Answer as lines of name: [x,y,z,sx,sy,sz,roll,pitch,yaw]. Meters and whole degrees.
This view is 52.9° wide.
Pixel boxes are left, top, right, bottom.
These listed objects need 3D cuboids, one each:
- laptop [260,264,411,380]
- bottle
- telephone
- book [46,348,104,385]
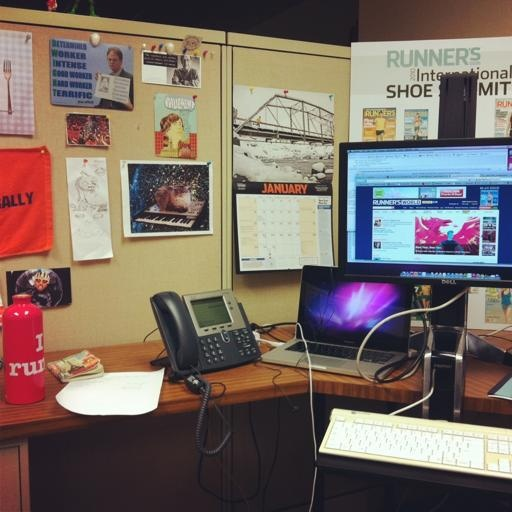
laptop: [0.207,0.149,1.331,0.334,0.232,0.271,2,1,29]
bottle: [-0.495,0.198,1.091,0.089,0.233,0.048,-8,12,-26]
telephone: [-0.129,0.185,1.324,0.230,0.174,0.278,13,14,42]
book: [-0.443,0.257,1.250,0.075,0.027,0.080,-8,13,-34]
